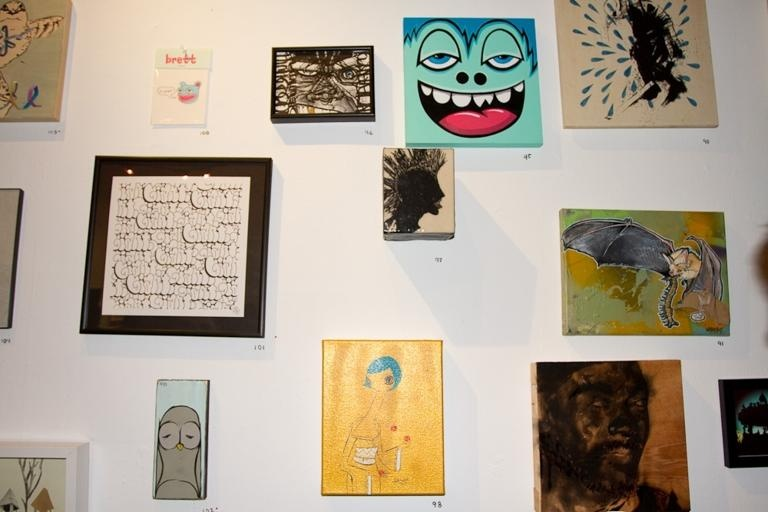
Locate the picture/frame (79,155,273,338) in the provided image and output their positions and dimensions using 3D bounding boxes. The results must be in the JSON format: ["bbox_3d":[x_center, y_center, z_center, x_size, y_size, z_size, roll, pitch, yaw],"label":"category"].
[{"bbox_3d":[-0.999,-0.005,3.976,0.799,0.877,0.035,1,-8,3],"label":"picture/frame"}]
